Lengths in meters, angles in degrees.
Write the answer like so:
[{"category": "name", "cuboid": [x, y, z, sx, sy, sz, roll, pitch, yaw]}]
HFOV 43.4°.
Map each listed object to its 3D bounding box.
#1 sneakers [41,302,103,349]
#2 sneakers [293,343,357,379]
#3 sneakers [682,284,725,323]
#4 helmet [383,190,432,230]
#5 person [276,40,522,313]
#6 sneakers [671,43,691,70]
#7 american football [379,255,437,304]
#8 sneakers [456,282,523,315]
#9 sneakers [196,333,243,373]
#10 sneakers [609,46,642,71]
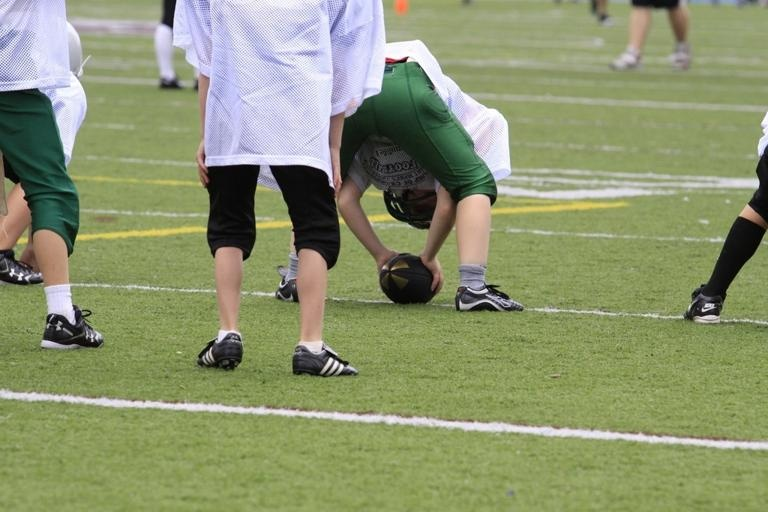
[{"category": "sneakers", "cuboid": [-1.629, 0.393, 5.119, 0.180, 0.215, 0.465, 6, -1, 17]}, {"category": "sneakers", "cuboid": [-0.289, 0.529, 4.819, 0.396, 0.154, 0.126, 8, -3, -35]}, {"category": "sneakers", "cuboid": [1.926, 0.292, 5.831, 0.191, 0.226, 0.504, 7, 3, 3]}, {"category": "helmet", "cuboid": [0.160, -0.299, 6.220, 0.300, 0.237, 0.216, 3, 4, -17]}, {"category": "person", "cuboid": [0.074, -0.429, 6.115, 1.758, 1.499, 1.147, -2, -8, 29]}, {"category": "sneakers", "cuboid": [1.420, -0.945, 4.604, 0.064, 0.120, 0.186, -1, 1, 15]}, {"category": "american football", "cuboid": [0.120, 0.140, 6.089, 0.326, 0.305, 0.411, -4, -10, 31]}, {"category": "sneakers", "cuboid": [0.614, 0.275, 5.865, 0.471, 0.171, 0.153, 3, -7, -10]}, {"category": "sneakers", "cuboid": [-0.833, 0.500, 4.906, 0.163, 0.174, 0.395, 9, -17, -30]}, {"category": "sneakers", "cuboid": [1.125, -0.923, 4.532, 0.153, 0.086, 0.071, -6, 43, -2]}]
